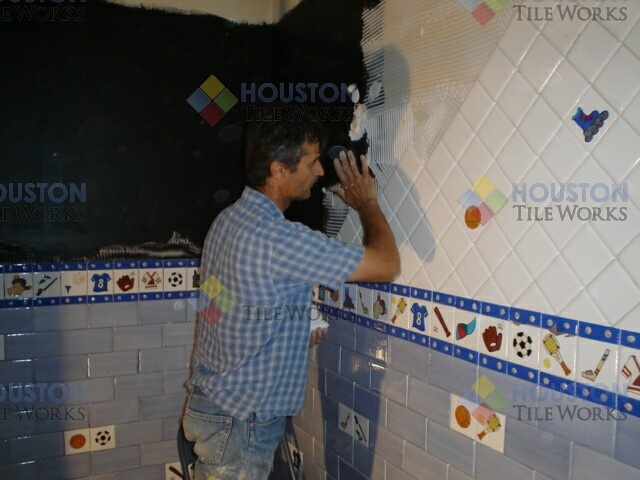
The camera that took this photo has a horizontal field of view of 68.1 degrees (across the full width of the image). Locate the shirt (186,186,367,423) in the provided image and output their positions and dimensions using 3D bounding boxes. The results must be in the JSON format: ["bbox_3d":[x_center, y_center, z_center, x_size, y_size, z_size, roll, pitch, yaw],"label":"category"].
[{"bbox_3d":[-0.213,0.273,1.861,0.504,0.883,0.748,-1,8,-22],"label":"shirt"}]
